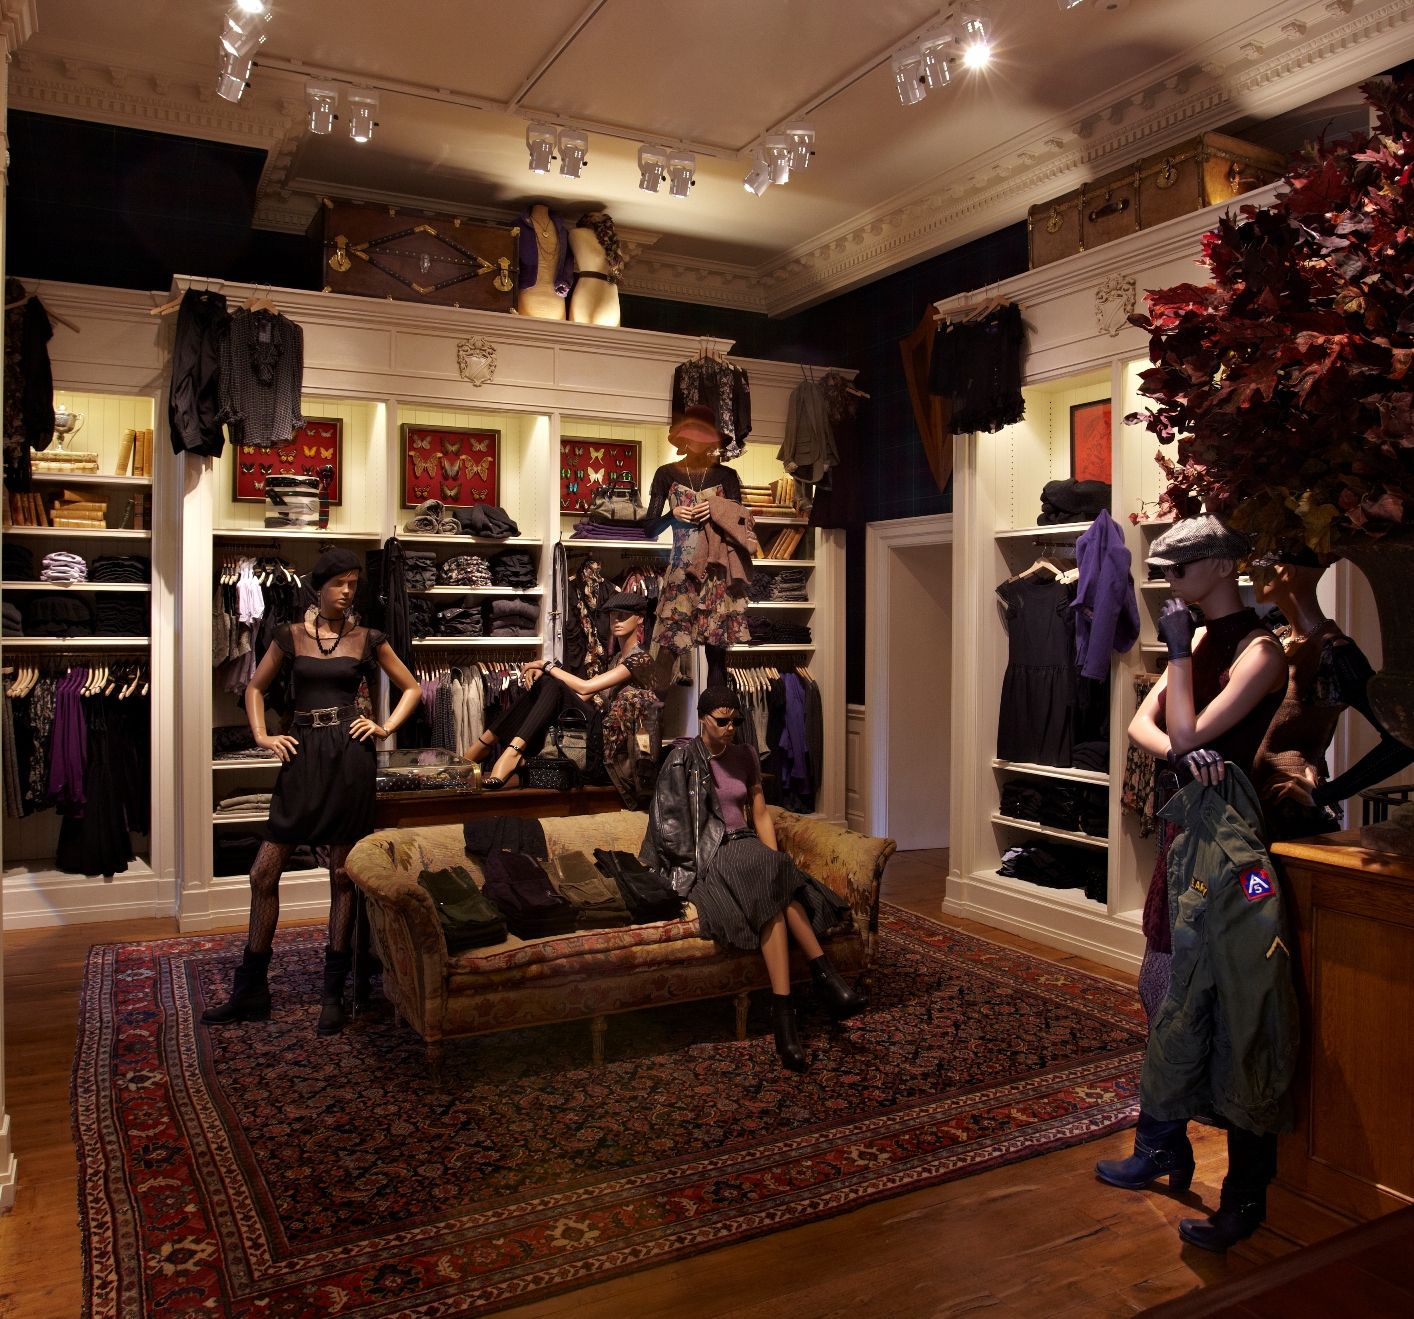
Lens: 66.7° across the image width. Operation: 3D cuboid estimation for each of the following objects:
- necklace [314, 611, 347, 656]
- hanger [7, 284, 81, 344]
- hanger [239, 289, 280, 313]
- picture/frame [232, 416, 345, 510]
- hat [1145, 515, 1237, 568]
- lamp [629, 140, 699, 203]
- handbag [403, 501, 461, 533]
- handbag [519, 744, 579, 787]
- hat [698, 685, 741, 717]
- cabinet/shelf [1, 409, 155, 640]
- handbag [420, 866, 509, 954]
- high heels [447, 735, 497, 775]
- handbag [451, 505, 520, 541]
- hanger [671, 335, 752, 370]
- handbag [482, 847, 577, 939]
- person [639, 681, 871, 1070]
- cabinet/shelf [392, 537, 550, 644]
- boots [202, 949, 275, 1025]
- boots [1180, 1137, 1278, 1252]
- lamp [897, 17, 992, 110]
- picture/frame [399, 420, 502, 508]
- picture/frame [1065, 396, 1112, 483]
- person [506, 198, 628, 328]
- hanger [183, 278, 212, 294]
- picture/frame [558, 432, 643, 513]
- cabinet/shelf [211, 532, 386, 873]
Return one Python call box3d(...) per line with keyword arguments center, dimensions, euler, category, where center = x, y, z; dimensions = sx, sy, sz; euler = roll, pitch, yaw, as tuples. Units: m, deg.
box3d(center=(-1.604, -0.119, 4.599), dimensions=(0.121, 0.195, 0.105), euler=(3, -3, -6), category="necklace")
box3d(center=(-3.500, -1.860, 5.630), dimensions=(0.259, 0.302, 0.453), euler=(0, 0, -3), category="hanger")
box3d(center=(-2.433, -1.975, 5.853), dimensions=(0.196, 0.153, 0.032), euler=(1, -3, -29), category="hanger")
box3d(center=(-2.482, -1.173, 6.335), dimensions=(0.688, 0.543, 0.049), euler=(0, -2, -27), category="picture/frame")
box3d(center=(1.190, -0.295, 2.670), dimensions=(0.174, 0.085, 0.114), euler=(1, 6, 0), category="hat")
box3d(center=(-0.219, -2.649, 5.795), dimensions=(0.283, 0.242, 0.215), euler=(0, 0, -10), category="lamp")
box3d(center=(-1.679, -0.886, 6.595), dimensions=(0.254, 0.120, 0.341), euler=(-1, 3, -18), category="handbag")
box3d(center=(-0.694, 0.466, 4.746), dimensions=(0.188, 0.173, 0.187), euler=(-1, -5, 29), category="handbag")
box3d(center=(0.047, 0.157, 4.312), dimensions=(0.108, 0.098, 0.132), euler=(-2, -5, -41), category="hat")
box3d(center=(-3.549, -0.813, 6.134), dimensions=(0.725, 1.575, 0.674), euler=(0, 0, -26), category="cabinet/shelf")
box3d(center=(-0.869, 0.884, 3.816), dimensions=(0.210, 0.080, 0.274), euler=(2, 21, -29), category="handbag")
box3d(center=(-1.061, 0.431, 4.931), dimensions=(0.095, 0.104, 0.262), euler=(13, 4, 21), category="high heels")
box3d(center=(-1.371, -0.847, 6.616), dimensions=(0.293, 0.124, 0.355), euler=(1, 2, -23), category="handbag")
box3d(center=(-0.067, -2.092, 7.337), dimensions=(0.411, 0.091, 0.399), euler=(-2, 2, -32), category="hanger")
box3d(center=(-0.688, 0.790, 4.052), dimensions=(0.258, 0.321, 0.096), euler=(-20, 29, 3), category="handbag")
box3d(center=(0.203, 0.705, 4.069), dimensions=(0.633, 0.839, 1.293), euler=(-6, 25, -27), category="person")
box3d(center=(-1.479, -0.533, 6.620), dimensions=(0.942, 0.547, 0.500), euler=(-4, 15, -35), category="cabinet/shelf")
box3d(center=(-1.816, 1.347, 4.368), dimensions=(0.360, 0.321, 0.169), euler=(3, -5, -18), category="boots")
box3d(center=(1.250, 1.259, 2.588), dimensions=(0.251, 0.289, 0.104), euler=(7, -1, -22), category="boots")
box3d(center=(0.998, -2.678, 4.707), dimensions=(0.462, 0.122, 0.319), euler=(-23, -31, 16), category="lamp")
box3d(center=(-1.676, -1.283, 6.931), dimensions=(0.690, 0.530, 0.051), euler=(-1, -1, -26), category="picture/frame")
box3d(center=(2.149, -1.174, 5.966), dimensions=(0.375, 0.477, 0.039), euler=(-12, 14, -33), category="picture/frame")
box3d(center=(-0.870, -2.534, 6.873), dimensions=(0.702, 0.844, 0.465), euler=(0, 0, -15), category="person")
box3d(center=(-2.693, -2.021, 5.744), dimensions=(0.141, 0.083, 0.073), euler=(0, -2, -17), category="hanger")
box3d(center=(-0.747, -1.285, 7.322), dimensions=(0.711, 0.542, 0.052), euler=(1, -6, -22), category="picture/frame")
box3d(center=(-1.554, 0.383, 4.514), dimensions=(0.712, 1.615, 0.398), euler=(2, -7, -18), category="cabinet/shelf")
